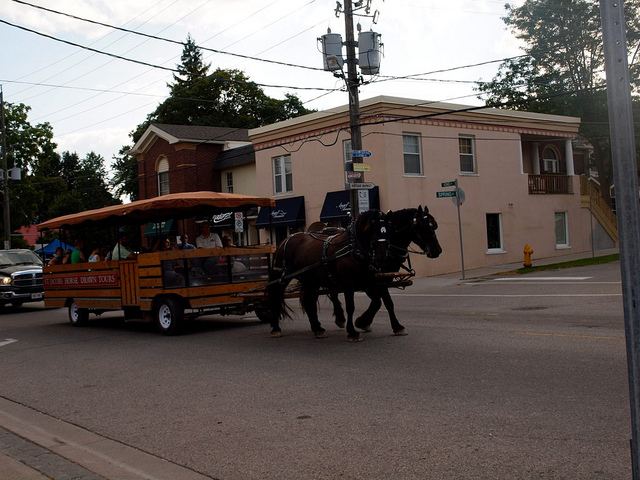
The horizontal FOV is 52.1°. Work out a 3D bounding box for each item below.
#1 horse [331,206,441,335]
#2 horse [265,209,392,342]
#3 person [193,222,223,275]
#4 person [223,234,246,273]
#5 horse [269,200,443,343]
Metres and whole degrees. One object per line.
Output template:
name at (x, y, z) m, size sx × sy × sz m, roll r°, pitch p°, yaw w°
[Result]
horse at (1.098, 0.634, 12.632) m, size 0.802 × 2.344 × 2.866 m, roll 6°, pitch -7°, yaw -41°
horse at (0.135, 0.767, 12.708) m, size 0.974 × 2.362 × 3.449 m, roll 1°, pitch -5°, yaw -43°
person at (-2.726, 0.268, 16.140) m, size 0.637 × 1.533 × 0.774 m, roll -7°, pitch 3°, yaw 2°
person at (-2.258, 0.328, 17.442) m, size 0.479 × 1.141 × 2.141 m, roll -5°, pitch -10°, yaw -6°
horse at (0.398, 0.749, 12.723) m, size 4.195 × 2.648 × 1.310 m, roll -6°, pitch -3°, yaw 43°
